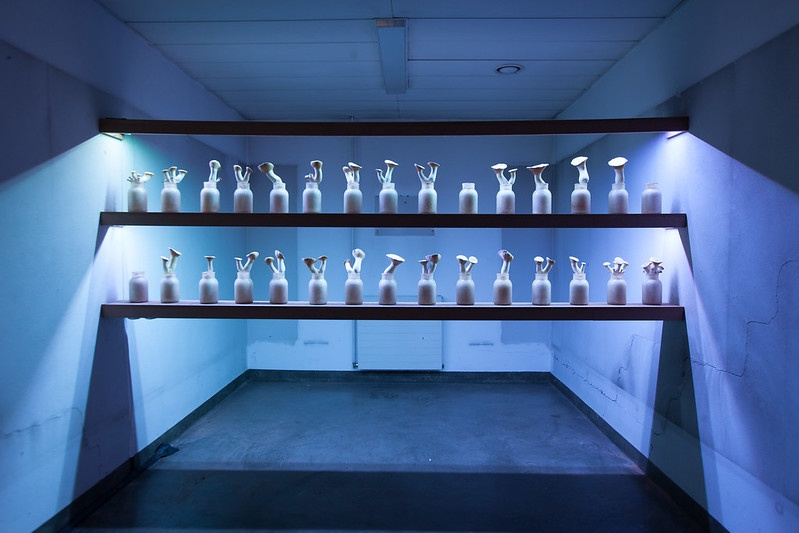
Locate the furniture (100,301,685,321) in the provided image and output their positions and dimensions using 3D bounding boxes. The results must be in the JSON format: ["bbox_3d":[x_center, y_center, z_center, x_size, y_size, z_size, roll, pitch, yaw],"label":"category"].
[{"bbox_3d":[-0.053,0.266,3.201,3.367,0.116,0.117,0,14,1],"label":"furniture"}]

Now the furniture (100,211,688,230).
[{"bbox_3d":[-0.055,-0.271,3.211,3.389,0.098,0.133,0,13,1],"label":"furniture"}]
